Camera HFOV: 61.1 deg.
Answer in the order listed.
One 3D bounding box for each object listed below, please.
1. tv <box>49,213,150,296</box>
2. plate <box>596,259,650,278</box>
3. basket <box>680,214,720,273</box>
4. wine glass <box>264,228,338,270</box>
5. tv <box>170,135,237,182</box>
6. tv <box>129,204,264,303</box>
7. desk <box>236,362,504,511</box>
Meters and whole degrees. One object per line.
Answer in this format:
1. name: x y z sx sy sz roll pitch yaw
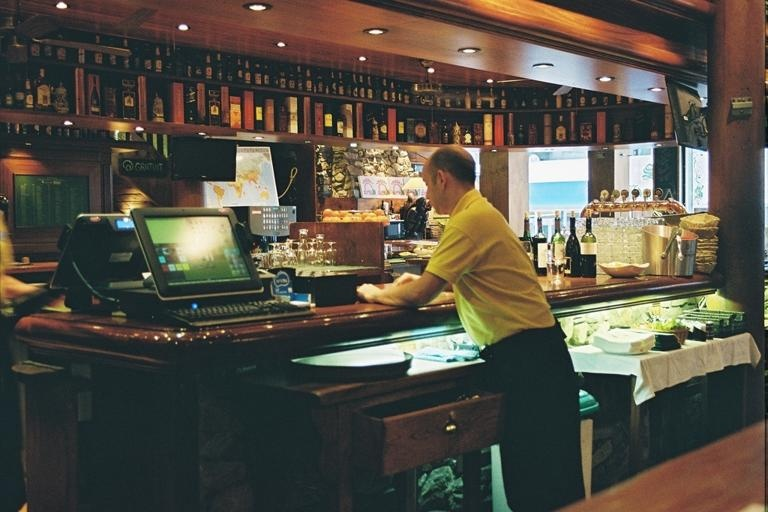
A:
1. tv: -1.404 -0.016 3.300 0.449 0.383 0.441 0 0 35
2. plate: 1.674 0.097 4.507 0.302 0.098 0.169 -2 4 6
3. basket: 2.414 -0.109 4.966 0.315 0.454 0.237 -4 5 -19
4. wine glass: -0.768 -0.064 5.829 0.516 0.188 0.372 -1 2 36
5. tv: -2.105 -1.145 7.628 1.133 0.603 0.140 5 6 27
6. tv: -0.894 -0.032 3.084 0.287 0.403 0.580 8 8 37
7. desk: -0.021 0.844 3.113 1.130 0.598 0.472 -5 5 -28
